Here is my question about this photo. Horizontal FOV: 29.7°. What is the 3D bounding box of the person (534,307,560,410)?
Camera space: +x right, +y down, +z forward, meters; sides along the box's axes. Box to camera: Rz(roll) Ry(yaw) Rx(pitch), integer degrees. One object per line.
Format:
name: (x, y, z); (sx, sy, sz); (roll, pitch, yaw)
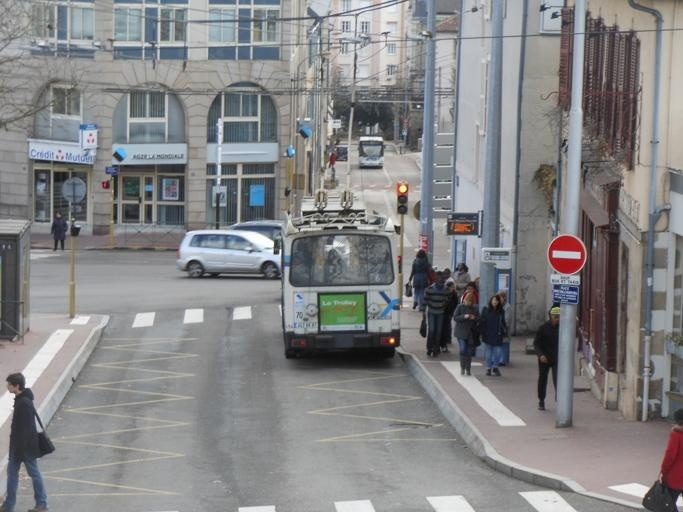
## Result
person: (4.457, 2.260, 28.189); (0.515, 2.034, 1.247); (2, 9, 9)

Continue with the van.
van: (-4.213, -0.135, 47.518); (3.286, 1.404, 1.968); (-1, 6, 3)

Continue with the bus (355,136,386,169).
bus: (2.160, -7.621, 97.079); (1.849, 2.284, 2.130); (0, 9, -2)

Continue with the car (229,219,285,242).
car: (-3.272, -1.118, 51.077); (2.351, 0.961, 1.350); (-2, 6, 10)

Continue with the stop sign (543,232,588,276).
stop sign: (4.641, 0.012, 26.617); (0.766, 0.938, 0.111); (3, -30, 10)

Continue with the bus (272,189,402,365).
bus: (-0.190, 0.578, 31.853); (2.262, 2.684, 4.661); (0, 6, -2)

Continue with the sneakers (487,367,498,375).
sneakers: (3.632, 2.788, 30.794); (0.114, 0.166, 0.366); (-2, -8, -35)

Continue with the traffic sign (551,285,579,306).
traffic sign: (4.650, 0.823, 26.714); (0.433, 0.321, 0.070); (6, 10, 34)
